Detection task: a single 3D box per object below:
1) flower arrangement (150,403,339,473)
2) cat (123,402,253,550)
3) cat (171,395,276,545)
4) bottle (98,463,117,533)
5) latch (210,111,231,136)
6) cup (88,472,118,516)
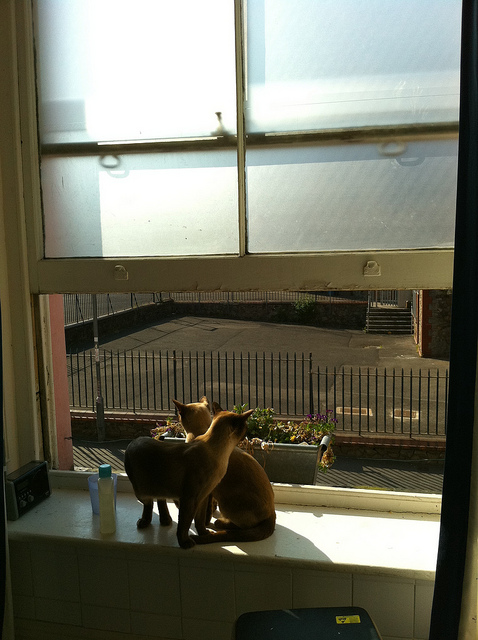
[{"bbox_3d":[0.020,0.541,3.175,0.822,0.304,0.544,1,17,8],"label":"flower arrangement"},{"bbox_3d":[-0.170,0.472,2.084,0.388,0.448,0.206,4,8,-2],"label":"cat"},{"bbox_3d":[-0.060,0.491,2.198,0.367,0.469,0.252,3,4,21],"label":"cat"},{"bbox_3d":[-0.454,0.592,2.264,0.062,0.210,0.192,-1,4,-12],"label":"bottle"},{"bbox_3d":[-0.054,-0.655,2.202,0.059,0.070,0.064,4,31,22],"label":"latch"},{"bbox_3d":[-0.498,0.608,2.335,0.119,0.156,0.132,0,-4,-6],"label":"cup"}]
